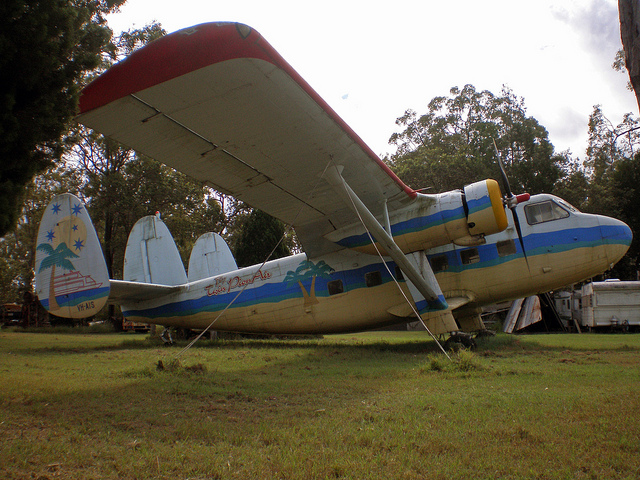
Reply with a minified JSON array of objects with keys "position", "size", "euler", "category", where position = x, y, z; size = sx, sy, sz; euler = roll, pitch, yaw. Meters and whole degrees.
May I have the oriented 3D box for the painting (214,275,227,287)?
[{"position":[-3.145,1.327,16.578],"size":[0.267,0.113,0.387],"euler":[5,-9,-15],"category":"painting"}]
